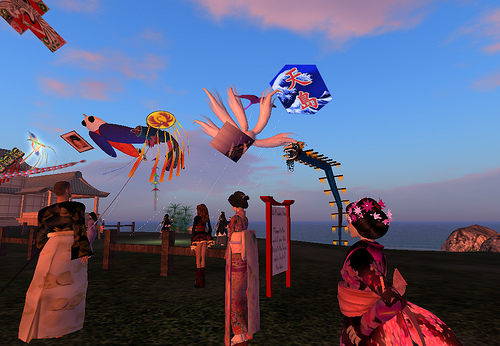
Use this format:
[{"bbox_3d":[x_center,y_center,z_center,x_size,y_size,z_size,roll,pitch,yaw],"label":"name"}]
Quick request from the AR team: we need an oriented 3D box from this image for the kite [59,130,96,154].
[{"bbox_3d":[-5.278,-0.954,9.006,0.906,0.075,1.042,-5,-39,-24],"label":"kite"}]

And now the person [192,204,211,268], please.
[{"bbox_3d":[-1.355,1.746,8.228,0.491,1.727,0.972,1,-7,-8],"label":"person"}]

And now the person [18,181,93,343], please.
[{"bbox_3d":[-3.211,1.427,5.021,0.942,2.589,0.415,5,-8,-33],"label":"person"}]

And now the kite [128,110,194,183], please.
[{"bbox_3d":[-1.855,-0.617,5.980,1.494,1.353,1.204,-5,-29,-5],"label":"kite"}]

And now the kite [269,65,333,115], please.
[{"bbox_3d":[1.565,-2.654,9.857,1.954,0.079,1.662,23,-35,31],"label":"kite"}]

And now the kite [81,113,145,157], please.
[{"bbox_3d":[-3.109,-0.831,6.810,1.362,0.377,0.976,26,-43,-12],"label":"kite"}]

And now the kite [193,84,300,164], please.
[{"bbox_3d":[-0.404,-0.915,5.517,1.887,0.636,1.448,-10,6,-2],"label":"kite"}]
